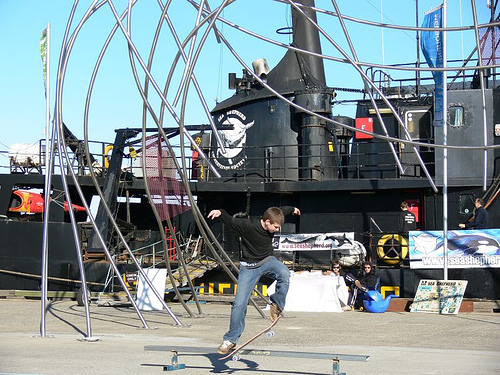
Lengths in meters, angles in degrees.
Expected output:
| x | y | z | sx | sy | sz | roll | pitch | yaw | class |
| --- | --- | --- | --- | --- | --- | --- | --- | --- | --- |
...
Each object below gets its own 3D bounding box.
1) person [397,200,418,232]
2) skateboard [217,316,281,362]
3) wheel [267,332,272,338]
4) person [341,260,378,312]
| x | y | z | sx | sy | sz | roll | pitch | yaw | class |
| --- | --- | --- | --- | --- | --- | --- | --- | --- | --- |
| 4.436 | 0.801 | 25.566 | 0.534 | 0.753 | 1.658 | -1 | 0 | 11 | person |
| -0.042 | 3.060 | 18.101 | 1.180 | 0.192 | 0.280 | -37 | -10 | -6 | skateboard |
| 0.349 | 2.817 | 17.287 | 0.089 | 0.086 | 0.092 | 2 | -2 | 0 | wheel |
| 2.915 | 2.686 | 24.522 | 0.684 | 1.193 | 1.026 | -2 | 0 | -41 | person |
